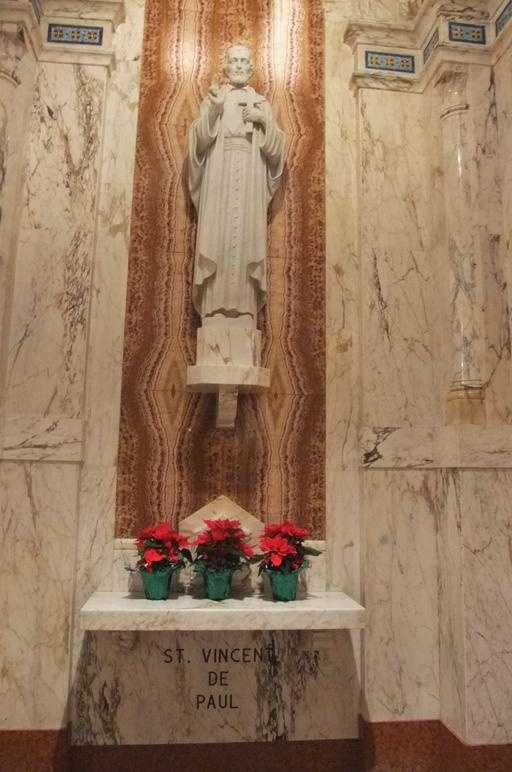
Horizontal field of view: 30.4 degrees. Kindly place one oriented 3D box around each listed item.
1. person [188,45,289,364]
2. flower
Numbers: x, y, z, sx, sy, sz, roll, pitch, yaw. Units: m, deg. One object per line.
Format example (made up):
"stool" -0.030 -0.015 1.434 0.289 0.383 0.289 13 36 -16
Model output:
"person" -0.100 -1.002 4.696 0.457 1.650 0.390 4 -20 -11
"flower" -0.137 0.730 4.355 0.848 0.270 0.407 -1 3 -2
